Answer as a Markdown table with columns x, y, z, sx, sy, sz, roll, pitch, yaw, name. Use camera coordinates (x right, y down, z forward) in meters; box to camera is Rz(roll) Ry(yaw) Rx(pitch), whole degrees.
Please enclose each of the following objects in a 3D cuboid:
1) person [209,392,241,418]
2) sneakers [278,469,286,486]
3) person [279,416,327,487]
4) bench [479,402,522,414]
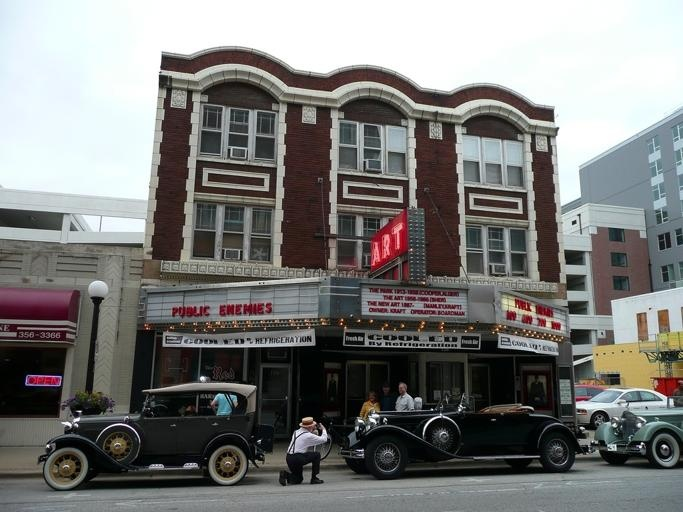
| x | y | z | sx | sy | sz | roll | pitch | yaw | name |
| --- | --- | --- | --- | --- | --- | --- | --- | --- | --- |
| -3.075 | 3.939 | 16.594 | 0.844 | 0.770 | 0.490 | 1 | -31 | -9 | person |
| -1.565 | 5.726 | 16.223 | 0.135 | 0.373 | 0.256 | -5 | -13 | 25 | sneakers |
| -0.998 | 5.141 | 16.624 | 1.207 | 1.677 | 0.960 | 1 | -14 | -5 | person |
| 4.610 | 4.394 | 18.072 | 0.900 | 0.204 | 0.482 | -1 | -6 | -2 | bench |
